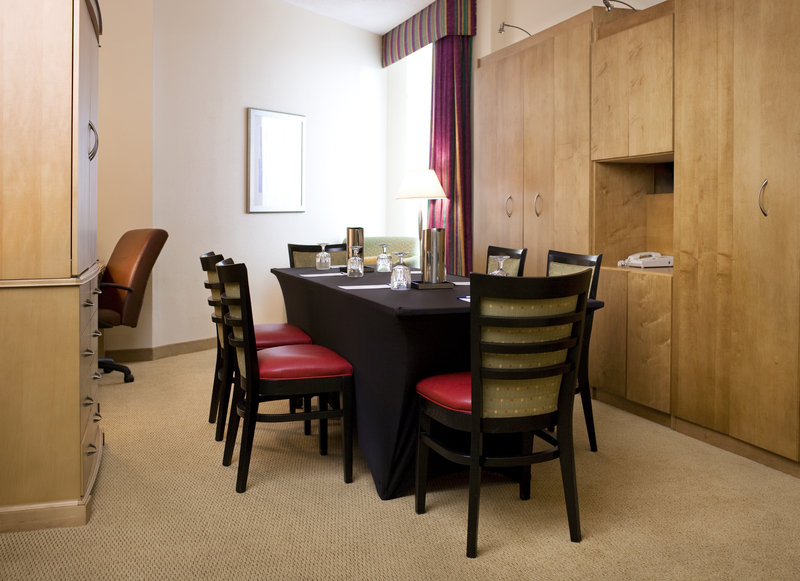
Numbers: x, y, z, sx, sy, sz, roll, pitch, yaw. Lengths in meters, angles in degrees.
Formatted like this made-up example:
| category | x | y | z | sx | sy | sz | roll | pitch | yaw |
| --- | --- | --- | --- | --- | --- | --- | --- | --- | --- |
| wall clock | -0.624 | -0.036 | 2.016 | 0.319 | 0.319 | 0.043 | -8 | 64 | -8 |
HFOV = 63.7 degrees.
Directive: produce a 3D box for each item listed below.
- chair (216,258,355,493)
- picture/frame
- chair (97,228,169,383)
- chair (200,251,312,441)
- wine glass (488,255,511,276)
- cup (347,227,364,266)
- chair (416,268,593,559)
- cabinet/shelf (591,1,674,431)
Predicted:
| category | x | y | z | sx | sy | sz | roll | pitch | yaw |
| --- | --- | --- | --- | --- | --- | --- | --- | --- | --- |
| chair | -0.654 | 0.403 | 4.175 | 0.958 | 1.822 | 1.047 | -1 | 3 | -16 |
| picture/frame | -1.254 | -1.308 | 6.537 | 0.549 | 0.943 | 0.044 | 5 | 25 | 3 |
| chair | -2.236 | 0.095 | 5.336 | 0.612 | 1.198 | 0.708 | -10 | 15 | -37 |
| chair | -0.758 | 0.479 | 4.061 | 0.756 | 1.396 | 0.677 | -4 | 11 | -30 |
| wine glass | 0.649 | -0.161 | 4.141 | 0.089 | 0.107 | 0.178 | -2 | 11 | -7 |
| cup | -0.303 | -0.311 | 4.414 | 0.105 | 0.217 | 0.354 | -2 | 13 | -6 |
| chair | 0.462 | 0.527 | 2.952 | 0.798 | 1.264 | 0.428 | 1 | 12 | 5 |
| cabinet/shelf | 1.620 | -0.583 | 4.435 | 0.592 | 2.683 | 1.014 | 1 | 12 | 9 |
